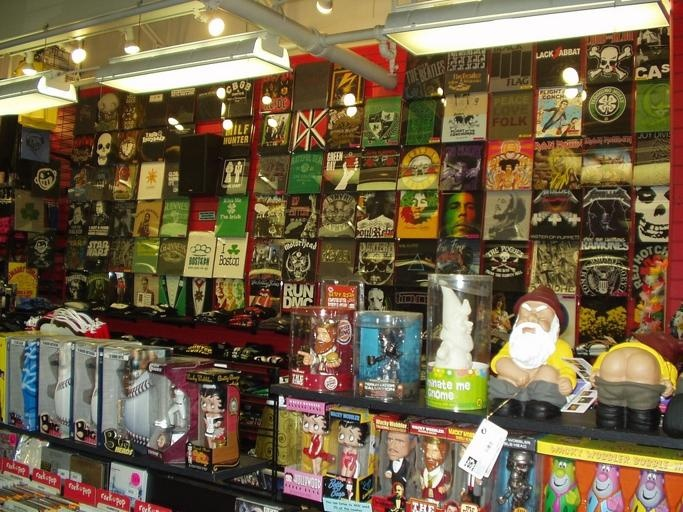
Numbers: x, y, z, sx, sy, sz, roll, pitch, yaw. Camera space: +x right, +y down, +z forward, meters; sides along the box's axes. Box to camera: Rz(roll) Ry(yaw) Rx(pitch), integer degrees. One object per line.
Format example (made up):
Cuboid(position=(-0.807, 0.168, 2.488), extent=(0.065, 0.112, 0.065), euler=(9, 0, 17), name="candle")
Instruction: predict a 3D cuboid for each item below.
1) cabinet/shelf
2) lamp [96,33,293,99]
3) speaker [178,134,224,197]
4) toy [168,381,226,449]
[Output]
Cuboid(position=(-0.823, 0.724, 3.817), extent=(1.431, 0.774, 0.307), euler=(-1, -5, 40), name="cabinet/shelf")
Cuboid(position=(-0.978, -1.259, 3.933), extent=(1.301, 0.197, 0.383), euler=(1, -5, 24), name="lamp")
Cuboid(position=(-1.595, -1.012, 6.628), extent=(0.512, 0.658, 0.242), euler=(1, -6, 22), name="speaker")
Cuboid(position=(-0.629, 0.695, 2.594), extent=(0.288, 0.273, 0.097), euler=(-1, -4, 32), name="toy")
